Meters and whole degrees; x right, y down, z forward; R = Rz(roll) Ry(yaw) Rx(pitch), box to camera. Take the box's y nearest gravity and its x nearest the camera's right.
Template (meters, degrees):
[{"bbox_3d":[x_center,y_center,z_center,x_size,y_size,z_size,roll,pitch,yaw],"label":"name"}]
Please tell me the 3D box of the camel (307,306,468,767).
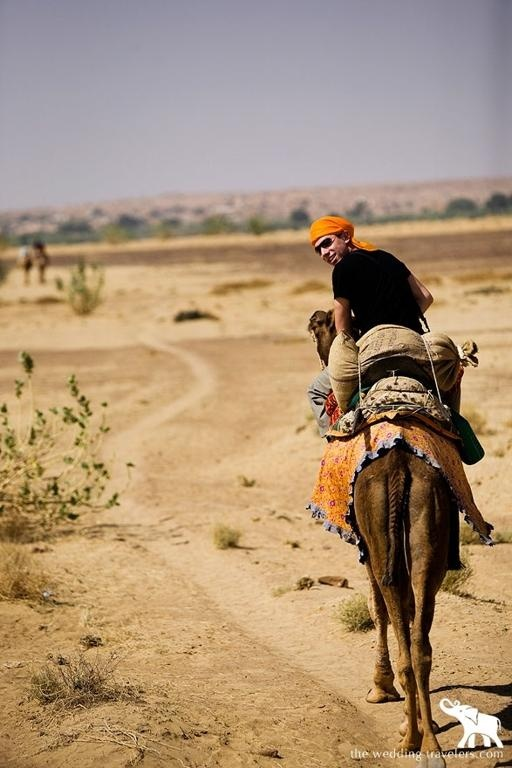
[{"bbox_3d":[0.732,1.069,5.703,0.655,1.726,1.222,8,6,-3],"label":"camel"}]
